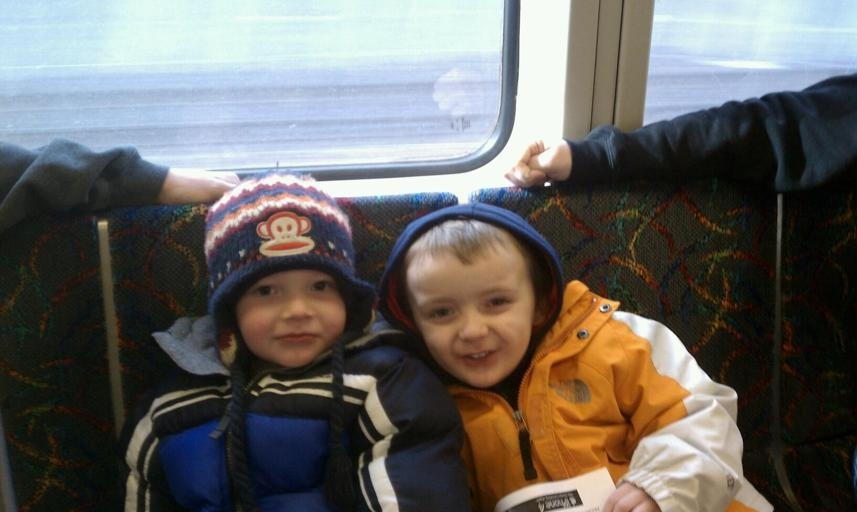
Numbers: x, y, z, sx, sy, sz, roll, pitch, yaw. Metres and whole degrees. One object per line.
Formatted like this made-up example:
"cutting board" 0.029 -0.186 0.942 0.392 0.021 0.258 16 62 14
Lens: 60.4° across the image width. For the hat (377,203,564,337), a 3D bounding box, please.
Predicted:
"hat" 0.059 -0.004 2.190 0.409 0.436 0.180 -3 2 12
